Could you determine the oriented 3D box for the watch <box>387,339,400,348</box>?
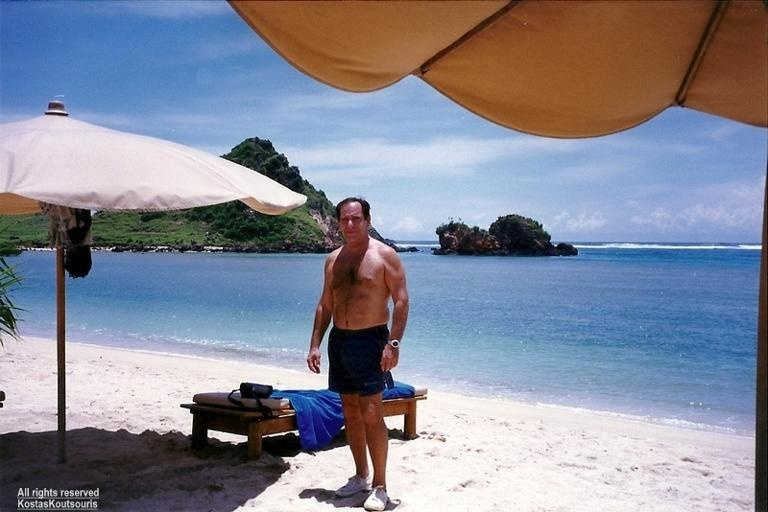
[{"bbox_3d":[0.109,0.905,5.884,0.080,0.058,0.103,1,-2,-13],"label":"watch"}]

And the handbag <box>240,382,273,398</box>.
[{"bbox_3d":[-1.677,1.715,7.347,0.221,0.112,0.303,9,-13,-37],"label":"handbag"}]

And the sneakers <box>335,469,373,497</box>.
[{"bbox_3d":[-0.318,2.550,6.411,0.484,0.186,0.183,-4,-4,-15],"label":"sneakers"}]
